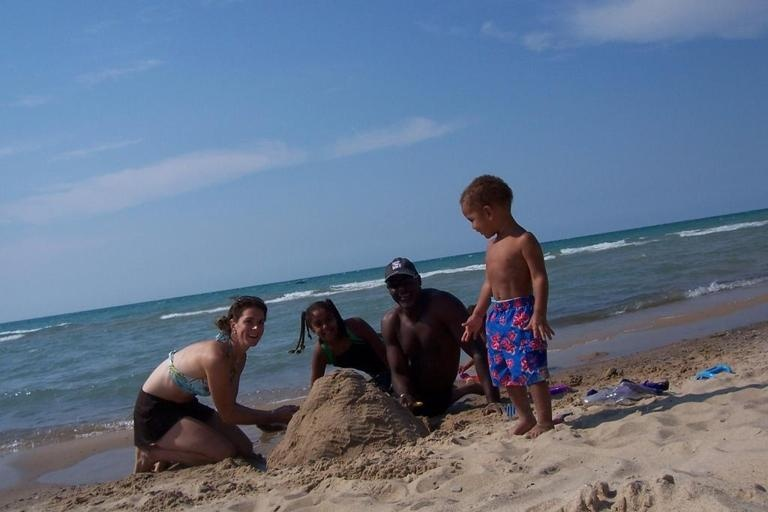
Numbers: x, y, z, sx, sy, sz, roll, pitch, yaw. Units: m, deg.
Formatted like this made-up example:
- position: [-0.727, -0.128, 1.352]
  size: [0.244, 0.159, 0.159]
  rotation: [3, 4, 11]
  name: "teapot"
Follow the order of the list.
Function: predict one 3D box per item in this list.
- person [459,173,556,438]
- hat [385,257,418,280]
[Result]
- position: [1.079, 0.401, 5.467]
  size: [0.410, 2.134, 0.778]
  rotation: [-9, 1, -40]
  name: "person"
- position: [0.173, 0.137, 6.451]
  size: [0.355, 0.236, 0.403]
  rotation: [-9, 1, 1]
  name: "hat"
